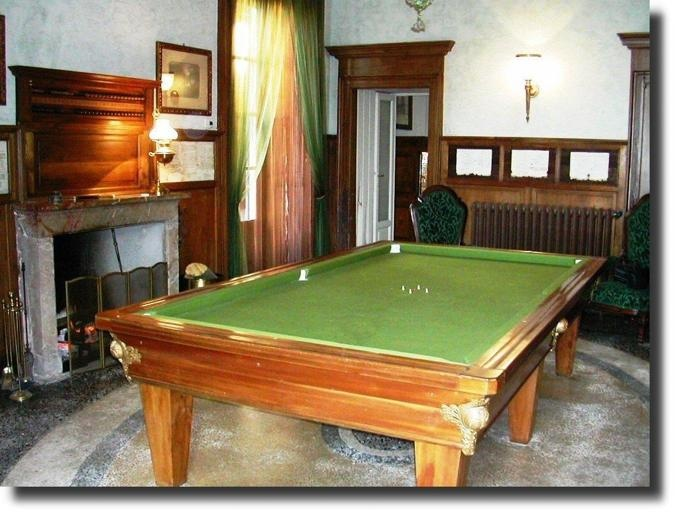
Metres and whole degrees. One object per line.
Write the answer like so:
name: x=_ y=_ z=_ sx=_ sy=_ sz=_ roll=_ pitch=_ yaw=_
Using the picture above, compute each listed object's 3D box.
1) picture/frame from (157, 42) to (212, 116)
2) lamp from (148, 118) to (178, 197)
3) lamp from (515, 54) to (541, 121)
picture/frame: x=-1.519 y=-1.719 z=5.016 sx=0.678 sy=0.642 sz=0.035 roll=14 pitch=17 yaw=24
lamp: x=-1.580 y=-0.922 z=4.617 sx=0.235 sy=0.705 sz=0.646 roll=-2 pitch=11 yaw=-19
lamp: x=2.255 y=-1.987 z=6.069 sx=0.320 sy=0.766 sz=0.169 roll=-3 pitch=11 yaw=-21
